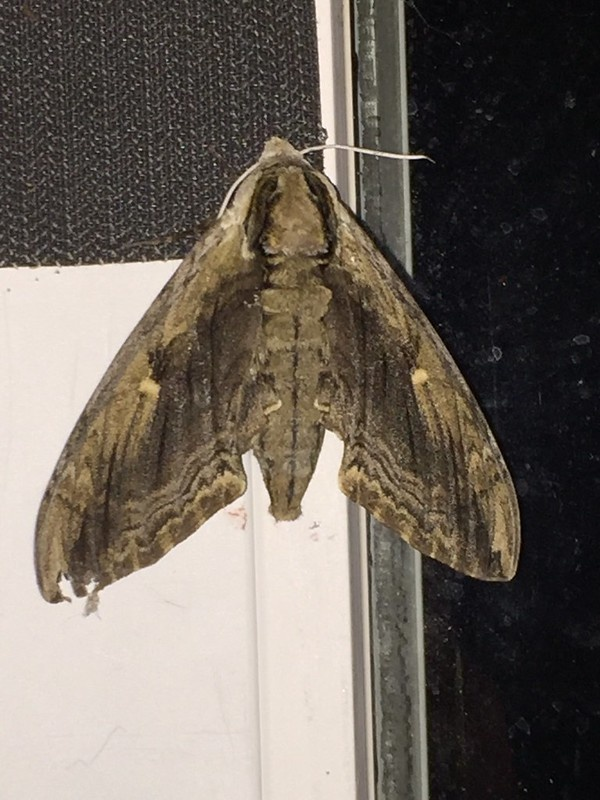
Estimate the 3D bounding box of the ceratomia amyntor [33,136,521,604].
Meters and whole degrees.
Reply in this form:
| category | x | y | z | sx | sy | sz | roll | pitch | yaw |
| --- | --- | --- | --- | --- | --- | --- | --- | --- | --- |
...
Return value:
| category | x | y | z | sx | sy | sz | roll | pitch | yaw |
| --- | --- | --- | --- | --- | --- | --- | --- | --- | --- |
| ceratomia amyntor | -0.038 | 0.029 | 3.450 | 0.904 | 0.858 | 0.263 | -6 | 44 | 8 |
